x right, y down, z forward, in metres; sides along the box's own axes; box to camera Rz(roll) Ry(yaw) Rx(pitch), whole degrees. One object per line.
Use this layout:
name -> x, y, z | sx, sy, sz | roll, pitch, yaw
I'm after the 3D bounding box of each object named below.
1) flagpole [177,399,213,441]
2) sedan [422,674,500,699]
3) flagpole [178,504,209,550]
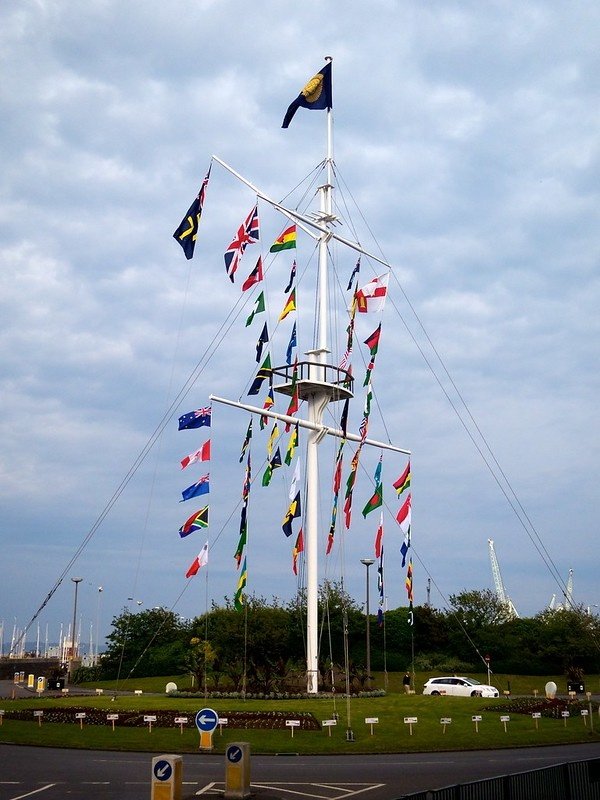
flagpole -> -3.228, 0.572, 32.529 | 1.150, 0.151, 1.111 | -18, -38, -15
sedan -> 7.590, 13.540, 50.584 | 1.531, 0.950, 4.019 | 12, -22, -36
flagpole -> -3.682, 4.143, 37.452 | 0.868, 1.211, 1.863 | 2, -18, -8
